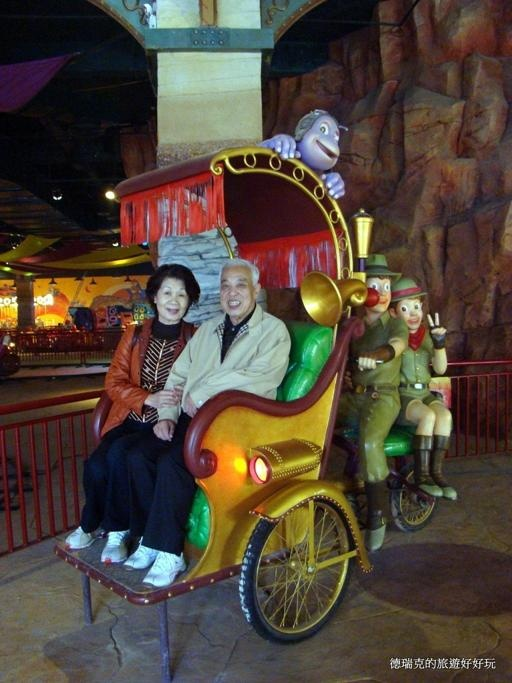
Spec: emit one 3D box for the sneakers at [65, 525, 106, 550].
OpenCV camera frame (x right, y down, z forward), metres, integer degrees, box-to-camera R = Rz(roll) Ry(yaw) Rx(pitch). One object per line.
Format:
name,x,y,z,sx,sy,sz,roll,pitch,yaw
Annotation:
sneakers,-0.782,0.913,2.599,0.072,0.064,0.161,-5,-10,28

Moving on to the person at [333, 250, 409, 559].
person,0.650,0.350,3.157,0.375,1.711,0.734,3,3,8

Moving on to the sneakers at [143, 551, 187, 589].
sneakers,-0.350,0.882,2.230,0.133,0.083,0.260,2,2,10

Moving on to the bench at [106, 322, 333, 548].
bench,-0.007,0.444,2.742,0.992,0.951,1.041,-10,-2,29

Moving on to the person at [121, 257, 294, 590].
person,-0.186,0.267,2.537,0.648,1.329,0.921,2,3,3
